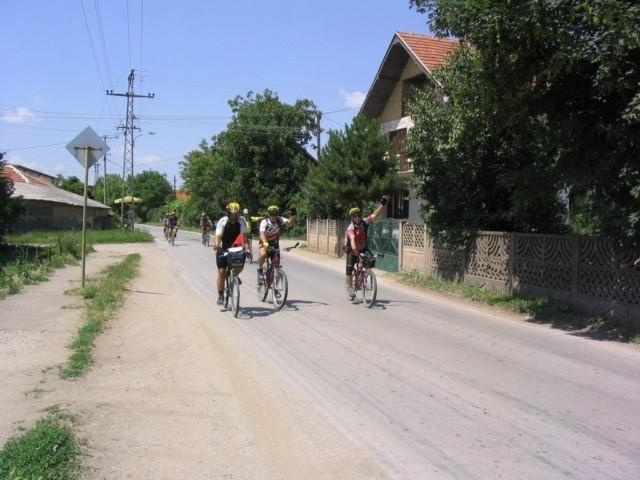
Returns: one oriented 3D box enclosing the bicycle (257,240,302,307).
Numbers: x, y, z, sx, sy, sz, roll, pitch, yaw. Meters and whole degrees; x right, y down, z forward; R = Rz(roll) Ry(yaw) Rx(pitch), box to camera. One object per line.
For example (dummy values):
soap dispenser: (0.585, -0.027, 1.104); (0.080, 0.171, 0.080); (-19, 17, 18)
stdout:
bicycle: (-0.816, 0.906, 13.974); (0.715, 1.024, 1.431); (3, -3, -18)

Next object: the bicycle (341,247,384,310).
bicycle: (0.973, 0.854, 14.179); (0.468, 1.243, 1.274); (-1, 8, -15)

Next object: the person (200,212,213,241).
person: (-6.235, -0.642, 34.996); (0.816, 1.179, 1.810); (1, 6, -12)

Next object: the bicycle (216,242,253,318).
bicycle: (-1.777, 0.740, 13.036); (0.769, 1.214, 1.887); (5, 12, -13)

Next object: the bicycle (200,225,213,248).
bicycle: (-6.152, -0.324, 34.867); (0.662, 0.958, 1.468); (1, 5, -18)

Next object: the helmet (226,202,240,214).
helmet: (-1.719, -0.698, 12.610); (0.199, 0.286, 0.275); (5, -15, -28)
